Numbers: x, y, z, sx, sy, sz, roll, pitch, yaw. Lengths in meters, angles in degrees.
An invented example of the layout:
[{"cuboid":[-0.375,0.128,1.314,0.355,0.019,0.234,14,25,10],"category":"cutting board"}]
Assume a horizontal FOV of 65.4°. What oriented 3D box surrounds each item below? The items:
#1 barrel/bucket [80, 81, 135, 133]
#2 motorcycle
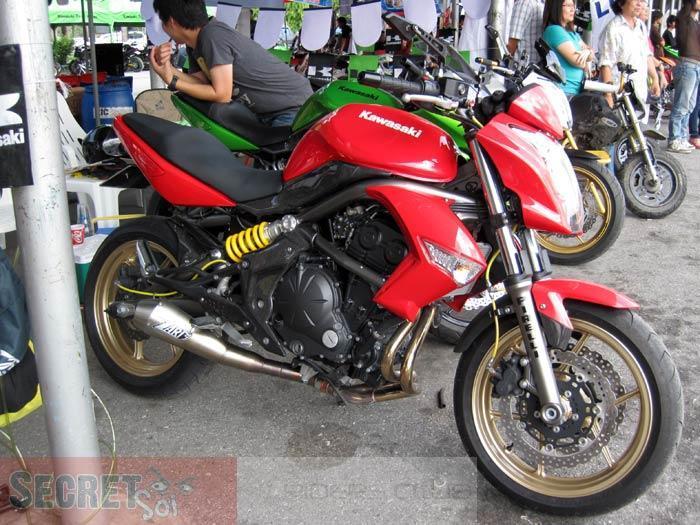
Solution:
[{"cuboid":[-3.483,-2.088,7.920,0.740,0.966,0.731,-1,8,0],"category":"barrel/bucket"},{"cuboid":[0.038,0.053,2.587,2.854,1.873,0.574,10,20,21],"category":"motorcycle"}]
